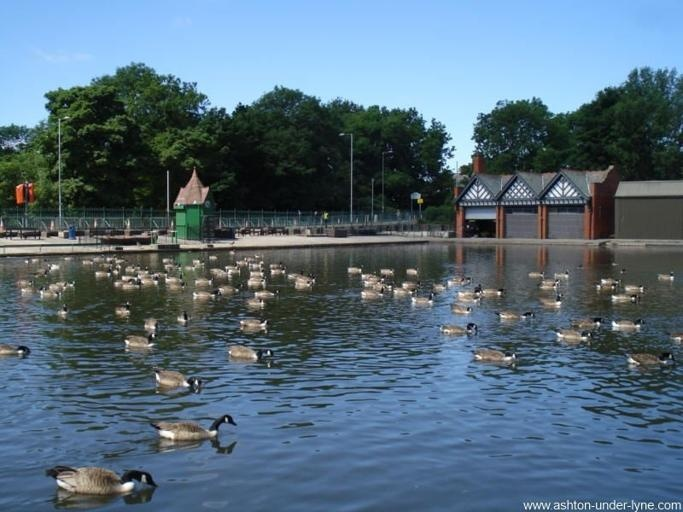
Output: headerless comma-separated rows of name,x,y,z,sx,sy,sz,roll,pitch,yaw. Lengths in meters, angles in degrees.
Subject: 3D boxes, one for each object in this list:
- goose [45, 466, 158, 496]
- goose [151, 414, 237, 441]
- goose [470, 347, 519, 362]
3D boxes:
goose,-5.803,5.433,22.460,1.892,0.550,2.481,3,-1,-35
goose,-3.737,4.596,24.917,2.518,0.794,0.704,5,-10,-7
goose,4.982,3.195,30.123,1.534,0.394,0.507,7,-29,-1
